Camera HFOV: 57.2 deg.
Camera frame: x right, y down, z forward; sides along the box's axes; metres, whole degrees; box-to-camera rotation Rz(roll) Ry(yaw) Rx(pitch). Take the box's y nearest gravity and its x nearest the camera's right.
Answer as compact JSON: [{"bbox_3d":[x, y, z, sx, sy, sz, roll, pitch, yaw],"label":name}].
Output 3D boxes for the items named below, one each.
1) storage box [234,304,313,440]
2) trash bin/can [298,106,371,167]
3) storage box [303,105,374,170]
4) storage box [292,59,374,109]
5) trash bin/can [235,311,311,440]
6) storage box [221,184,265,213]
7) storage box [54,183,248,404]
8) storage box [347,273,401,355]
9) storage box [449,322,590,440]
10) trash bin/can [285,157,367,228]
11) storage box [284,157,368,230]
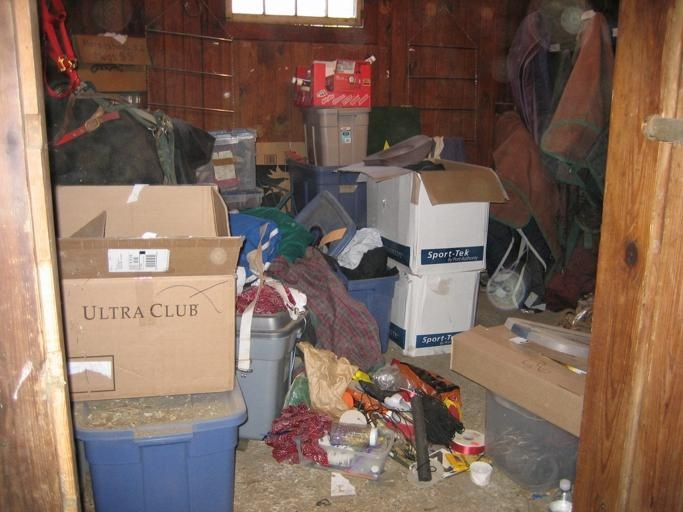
[{"bbox_3d":[-0.297,0.460,2.747,0.412,0.473,0.476,4,11,4],"label":"storage box"},{"bbox_3d":[-0.060,-0.923,4.610,0.458,0.572,0.422,-4,23,-13],"label":"trash bin/can"},{"bbox_3d":[-0.062,-0.898,4.604,0.476,0.577,0.427,-4,21,-14],"label":"storage box"},{"bbox_3d":[-0.024,-1.143,4.463,0.413,0.279,0.419,-3,11,-18],"label":"storage box"},{"bbox_3d":[-0.266,0.446,2.747,0.411,0.486,0.480,4,9,4],"label":"trash bin/can"},{"bbox_3d":[-0.675,-0.402,4.383,0.196,0.116,0.279,11,18,37],"label":"storage box"},{"bbox_3d":[-0.610,0.049,2.335,0.700,0.755,0.757,-2,11,-18],"label":"storage box"},{"bbox_3d":[0.174,0.266,3.553,0.336,0.477,0.398,-4,12,-10],"label":"storage box"},{"bbox_3d":[0.693,0.417,2.312,0.279,0.193,0.545,-14,19,-39],"label":"storage box"},{"bbox_3d":[-0.122,-0.498,4.571,0.543,0.361,0.551,-2,8,-32],"label":"trash bin/can"},{"bbox_3d":[-0.123,-0.492,4.596,0.545,0.415,0.557,-1,6,-22],"label":"storage box"}]
